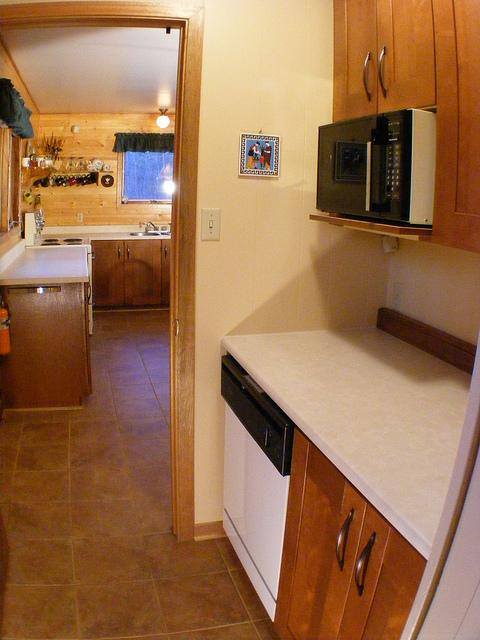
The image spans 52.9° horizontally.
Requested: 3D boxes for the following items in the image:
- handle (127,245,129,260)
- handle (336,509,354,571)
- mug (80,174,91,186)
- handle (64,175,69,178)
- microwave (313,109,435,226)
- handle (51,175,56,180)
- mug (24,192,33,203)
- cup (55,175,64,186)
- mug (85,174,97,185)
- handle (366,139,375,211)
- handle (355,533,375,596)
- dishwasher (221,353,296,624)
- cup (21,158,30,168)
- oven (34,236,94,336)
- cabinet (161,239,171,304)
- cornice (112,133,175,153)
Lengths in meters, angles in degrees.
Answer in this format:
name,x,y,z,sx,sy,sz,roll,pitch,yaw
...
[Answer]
name,x,y,z,sx,sy,sz,roll,pitch,yaw
handle,-1.411,-0.852,6.055,0.016,0.159,0.036,-3,10,-22
handle,0.223,0.480,1.037,0.023,0.169,0.040,-4,10,-29
mug,-2.053,-1.837,6.357,0.072,0.155,0.042,-3,-4,-15
handle,-2.283,-1.873,6.303,0.043,0.061,0.026,-2,4,-36
microwave,0.396,-0.464,1.463,0.179,0.285,0.434,-8,17,-24
handle,-2.418,-1.835,6.222,0.043,0.062,0.018,4,-15,-18
mug,-2.434,-1.421,5.551,0.087,0.166,0.133,0,4,-22
cup,-2.344,-1.804,6.237,0.085,0.120,0.087,1,11,0
mug,-1.978,-1.851,6.386,0.066,0.140,0.103,-2,2,-1
handle,0.371,-0.412,1.372,0.019,0.212,0.025,4,-18,2
handle,0.248,0.487,0.963,0.032,0.159,0.029,3,9,16
dishwasher,0.121,0.560,1.757,0.276,0.793,0.465,-8,23,-28
cup,-2.434,-1.779,5.454,0.065,0.111,0.233,-3,14,-18
oven,-1.362,-0.256,3.695,0.391,0.874,0.706,-1,16,-15
cabinet,-0.980,-0.615,6.260,0.106,0.860,0.197,-1,9,-10
cornice,-1.314,-2.381,6.489,0.804,0.278,0.147,-3,11,-19
